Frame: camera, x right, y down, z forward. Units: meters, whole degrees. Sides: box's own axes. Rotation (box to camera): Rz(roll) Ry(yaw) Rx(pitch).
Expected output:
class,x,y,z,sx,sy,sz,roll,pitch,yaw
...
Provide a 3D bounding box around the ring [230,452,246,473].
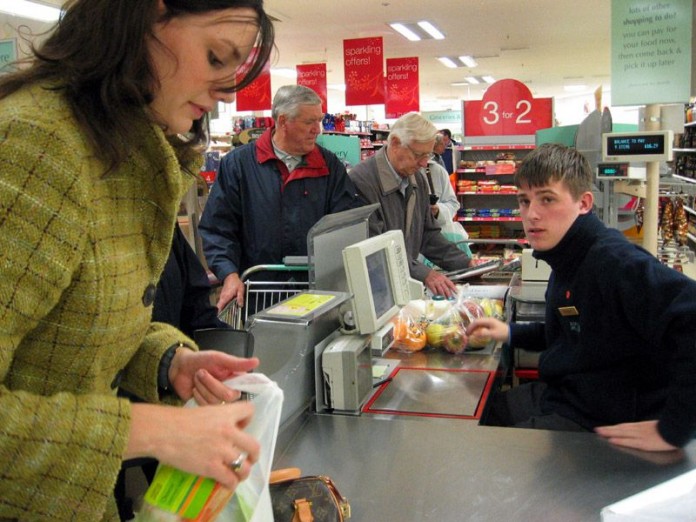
class,x,y,z,sx,sy,sz,roll,pitch,yaw
ring,-0.197,0.365,0.891,0.023,0.028,0.026,8,12,37

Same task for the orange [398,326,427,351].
class,x,y,z,sx,sy,sz,roll,pitch,yaw
orange,0.343,0.420,2.608,0.118,0.083,0.145,-1,1,-4

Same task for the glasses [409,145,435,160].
class,x,y,z,sx,sy,sz,roll,pitch,yaw
glasses,0.585,-0.842,3.807,0.110,0.123,0.290,3,12,30

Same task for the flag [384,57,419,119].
class,x,y,z,sx,sy,sz,roll,pitch,yaw
flag,1.331,-4.275,12.113,0.825,1.541,0.149,0,-3,5

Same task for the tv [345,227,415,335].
class,x,y,z,sx,sy,sz,roll,pitch,yaw
tv,0.144,0.111,2.304,0.124,0.311,0.502,-8,9,20

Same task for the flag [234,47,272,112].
class,x,y,z,sx,sy,sz,roll,pitch,yaw
flag,-2.042,-3.867,10.708,0.776,1.501,0.102,-3,-20,-2

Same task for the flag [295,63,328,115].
class,x,y,z,sx,sy,sz,roll,pitch,yaw
flag,-0.903,-4.231,11.896,0.752,0.145,1.370,-8,-34,-10
